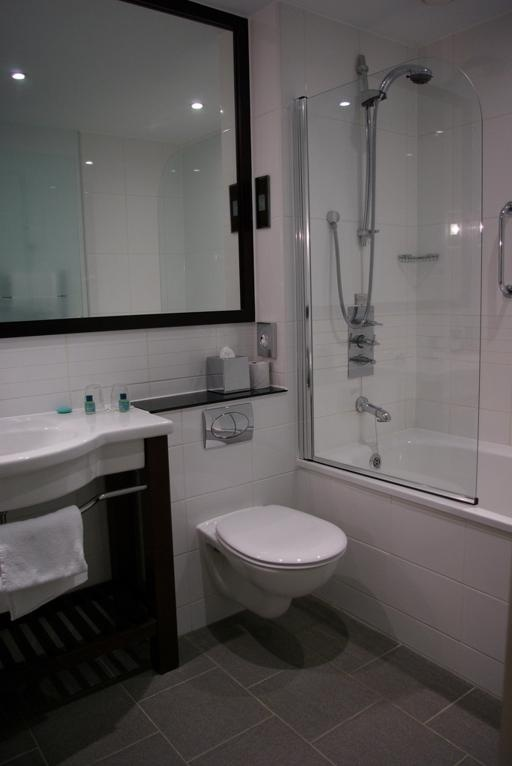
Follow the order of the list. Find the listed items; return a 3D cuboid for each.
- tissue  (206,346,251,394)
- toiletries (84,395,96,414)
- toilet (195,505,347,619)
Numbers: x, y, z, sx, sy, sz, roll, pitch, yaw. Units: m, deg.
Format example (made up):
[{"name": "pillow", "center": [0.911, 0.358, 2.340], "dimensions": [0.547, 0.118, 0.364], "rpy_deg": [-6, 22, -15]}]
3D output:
[{"name": "tissue ", "center": [-0.117, -0.075, 2.130], "dimensions": [0.140, 0.271, 0.162], "rpy_deg": [3, 6, 28]}, {"name": "toiletries", "center": [-0.520, 0.066, 1.701], "dimensions": [0.031, 0.063, 0.028], "rpy_deg": [-2, 3, -22]}, {"name": "toilet", "center": [0.044, 0.527, 1.733], "dimensions": [0.292, 0.337, 0.445], "rpy_deg": [-8, 12, -29]}]
